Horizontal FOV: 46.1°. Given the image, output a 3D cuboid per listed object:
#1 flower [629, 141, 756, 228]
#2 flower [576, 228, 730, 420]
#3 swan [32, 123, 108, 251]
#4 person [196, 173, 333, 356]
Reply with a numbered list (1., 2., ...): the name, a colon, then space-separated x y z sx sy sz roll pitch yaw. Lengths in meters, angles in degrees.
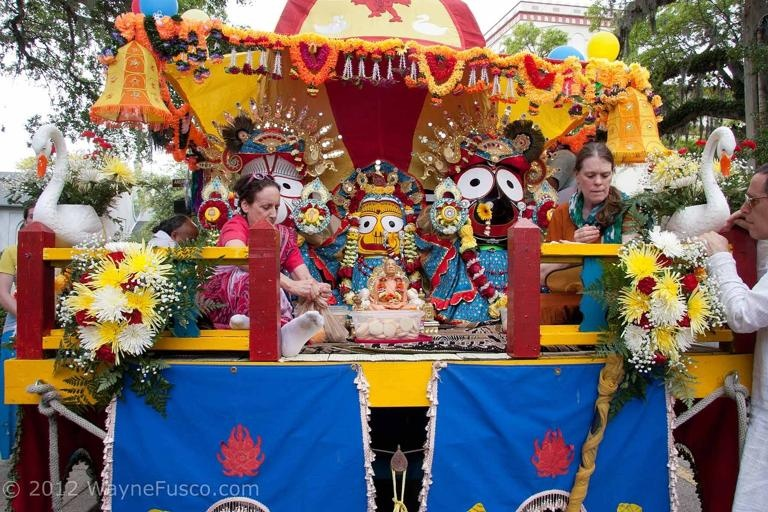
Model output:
1. flower: 2.685 -0.613 7.878 1.088 0.503 0.405 1 27 0
2. flower: 2.134 0.584 7.643 0.968 1.516 1.714 0 -8 -5
3. swan: -2.761 -0.614 7.918 0.614 1.018 0.450 1 -4 -22
4. person: -1.036 0.049 7.811 1.117 1.578 1.064 0 -4 -4
